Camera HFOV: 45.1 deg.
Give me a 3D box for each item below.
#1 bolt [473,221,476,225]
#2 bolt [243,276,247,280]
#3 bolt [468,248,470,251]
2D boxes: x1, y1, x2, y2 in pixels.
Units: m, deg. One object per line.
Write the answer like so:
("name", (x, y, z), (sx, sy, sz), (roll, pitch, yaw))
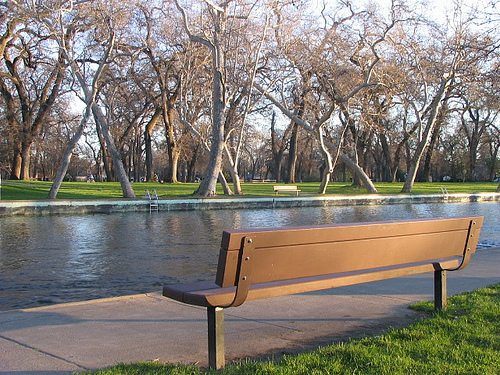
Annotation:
("bolt", (3.322, 0.528, 8.966), (0.032, 0.044, 0.023), (13, -20, 13))
("bolt", (-0.065, 1.058, 7.029), (0.045, 0.042, 0.014), (1, 1, -30))
("bolt", (3.232, 0.916, 8.978), (0.031, 0.032, 0.017), (3, 16, 7))
